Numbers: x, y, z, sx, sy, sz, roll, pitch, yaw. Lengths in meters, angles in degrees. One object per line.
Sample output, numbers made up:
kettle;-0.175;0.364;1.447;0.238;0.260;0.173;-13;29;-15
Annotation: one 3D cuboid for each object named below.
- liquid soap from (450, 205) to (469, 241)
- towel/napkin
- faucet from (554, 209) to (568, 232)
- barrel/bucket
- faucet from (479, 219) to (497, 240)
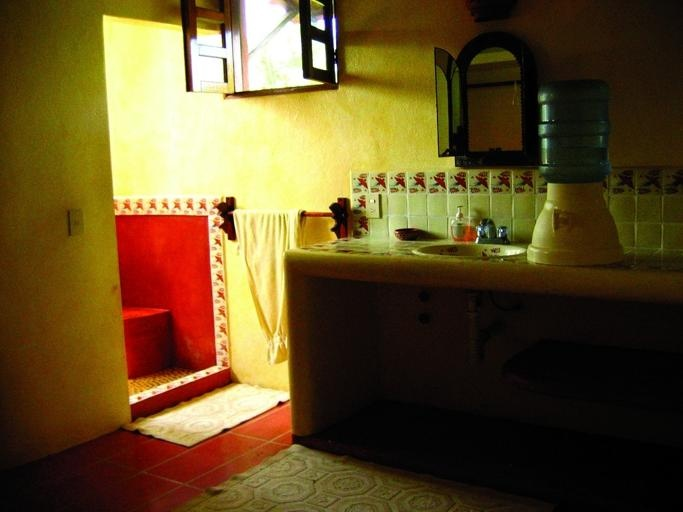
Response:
liquid soap;0.643;-0.181;3.093;0.101;0.185;0.131;1;10;11
towel/napkin;-0.476;0.171;3.686;0.242;0.968;0.474;-8;12;-36
faucet;0.938;-0.161;2.446;0.078;0.080;0.032;0;-1;19
barrel/bucket;1.025;-0.547;2.502;0.307;0.442;0.162;1;10;7
faucet;0.765;-0.149;2.987;0.115;0.119;0.080;-1;2;-45
